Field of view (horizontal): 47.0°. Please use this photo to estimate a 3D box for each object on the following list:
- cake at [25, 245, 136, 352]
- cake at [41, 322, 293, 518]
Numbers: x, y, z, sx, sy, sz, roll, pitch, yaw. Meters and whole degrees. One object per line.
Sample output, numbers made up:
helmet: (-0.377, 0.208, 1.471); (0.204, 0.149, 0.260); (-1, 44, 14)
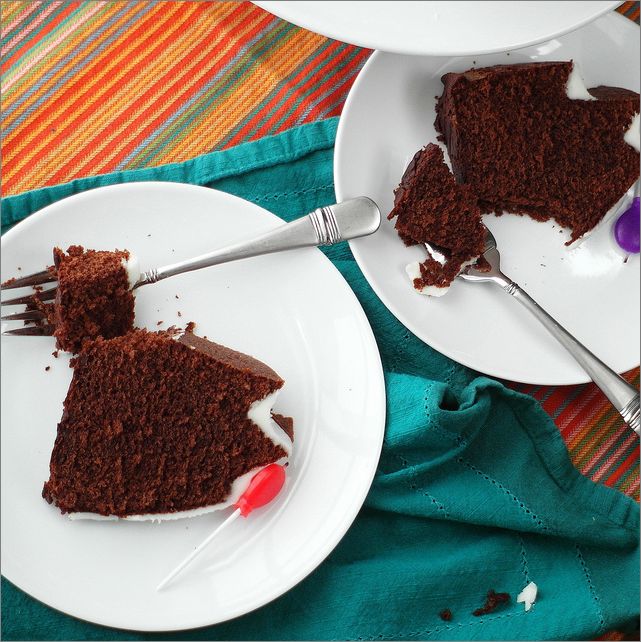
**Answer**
cake: (-0.554, -0.068, 1.783); (0.220, 0.091, 0.247); (-10, 103, -40)
cake: (-0.375, 0.265, 1.803); (0.576, 0.223, 0.420); (4, 67, 2)
